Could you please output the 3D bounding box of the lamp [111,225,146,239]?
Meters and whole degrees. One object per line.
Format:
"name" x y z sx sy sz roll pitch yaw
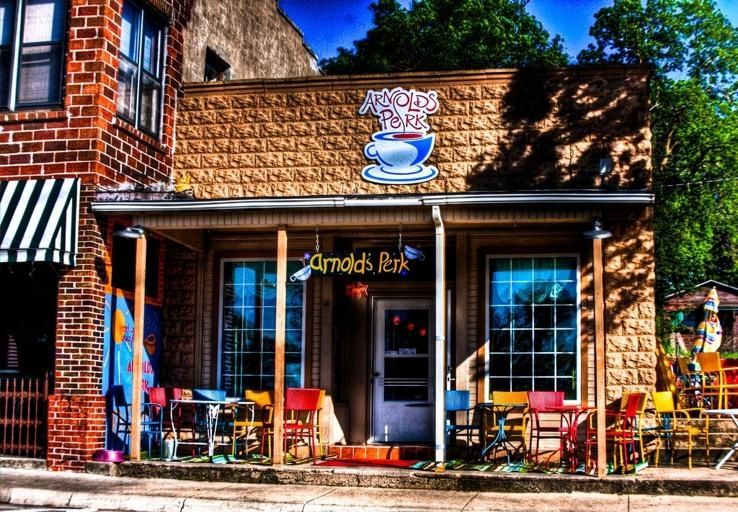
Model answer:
"lamp" -4.545 -0.484 20.090 0.289 0.274 0.632 -6 -14 26

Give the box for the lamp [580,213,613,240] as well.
"lamp" 4.104 -0.486 19.163 0.534 0.328 0.535 -1 -4 6

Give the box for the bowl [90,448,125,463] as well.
"bowl" -4.917 3.781 19.927 0.643 0.279 0.388 0 -12 -2
